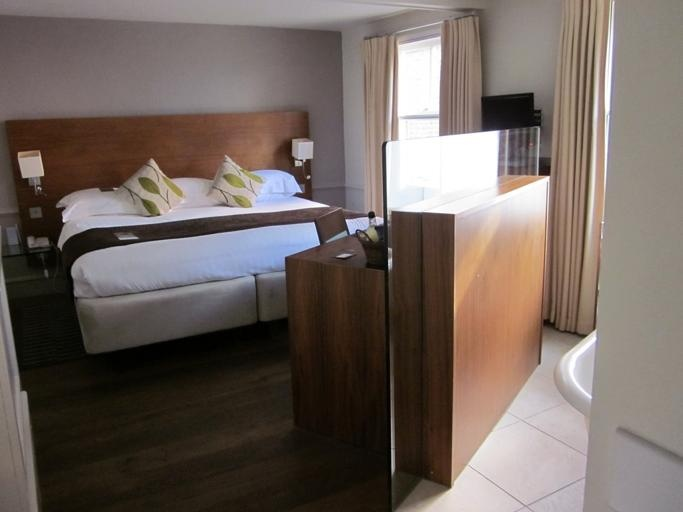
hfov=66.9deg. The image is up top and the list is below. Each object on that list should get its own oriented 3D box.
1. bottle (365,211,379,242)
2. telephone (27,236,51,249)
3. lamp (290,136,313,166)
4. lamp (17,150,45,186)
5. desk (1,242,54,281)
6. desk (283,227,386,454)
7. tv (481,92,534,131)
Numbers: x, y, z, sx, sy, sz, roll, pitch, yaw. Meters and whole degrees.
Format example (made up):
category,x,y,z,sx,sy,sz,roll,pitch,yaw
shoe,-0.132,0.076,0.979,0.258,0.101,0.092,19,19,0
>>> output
category,x,y,z,sx,sy,sz,roll,pitch,yaw
bottle,0.137,-0.141,2.295,0.058,0.136,0.165,-3,16,4
telephone,-2.648,-0.102,4.507,0.172,0.061,0.171,12,16,36
lamp,-0.450,-1.159,5.748,0.200,0.410,0.202,-12,27,-26
lamp,-2.742,-0.783,4.533,0.223,0.329,0.170,-3,0,-24
desk,-2.661,0.080,4.419,0.378,0.275,0.337,-12,18,-23
desk,-0.020,0.445,2.481,0.460,0.907,0.848,-1,-17,24
tv,1.253,-1.075,3.893,0.102,0.250,0.519,-16,20,-34
